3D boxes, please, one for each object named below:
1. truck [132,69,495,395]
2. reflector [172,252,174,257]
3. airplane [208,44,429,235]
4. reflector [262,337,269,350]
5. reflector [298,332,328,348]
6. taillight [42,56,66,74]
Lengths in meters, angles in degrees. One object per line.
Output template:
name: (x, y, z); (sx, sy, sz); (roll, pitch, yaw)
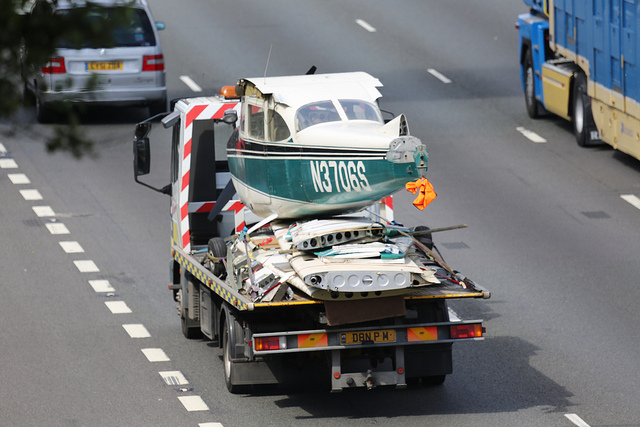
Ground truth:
truck: (-0.395, 0.048, 18.479); (3.901, 3.212, 6.691); (-4, 12, -18)
reflector: (-2.506, 0.654, 19.412); (0.005, 0.089, 0.099); (-12, 25, -19)
airplane: (0.101, -0.928, 16.897); (2.649, 2.385, 5.612); (-8, 12, -21)
reflector: (-0.762, 1.764, 15.843); (0.038, 0.137, 0.151); (5, -4, -38)
reflector: (-0.103, 1.720, 15.835); (0.408, 0.184, 0.074); (-2, 23, 1)
taillight: (-2.906, -1.597, 12.400); (0.252, 0.186, 0.397); (-2, 14, -22)
